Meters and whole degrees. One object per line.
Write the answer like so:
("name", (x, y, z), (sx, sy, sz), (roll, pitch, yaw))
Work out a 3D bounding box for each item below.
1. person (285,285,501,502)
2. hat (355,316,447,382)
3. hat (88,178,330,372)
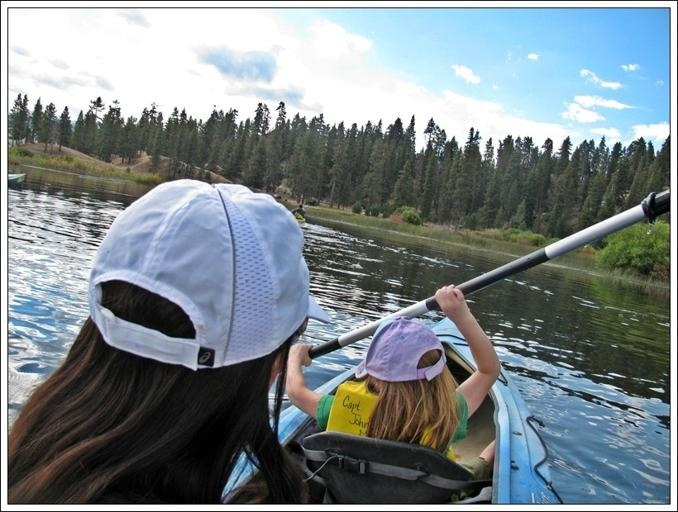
("person", (0.375, 0.800, 2.755), (0.779, 0.528, 1.233), (3, 18, 11))
("hat", (0.307, 0.461, 2.825), (0.400, 0.298, 0.559), (-7, 2, -18))
("hat", (-0.380, 0.045, 1.589), (0.439, 0.358, 0.646), (6, 8, 14))
